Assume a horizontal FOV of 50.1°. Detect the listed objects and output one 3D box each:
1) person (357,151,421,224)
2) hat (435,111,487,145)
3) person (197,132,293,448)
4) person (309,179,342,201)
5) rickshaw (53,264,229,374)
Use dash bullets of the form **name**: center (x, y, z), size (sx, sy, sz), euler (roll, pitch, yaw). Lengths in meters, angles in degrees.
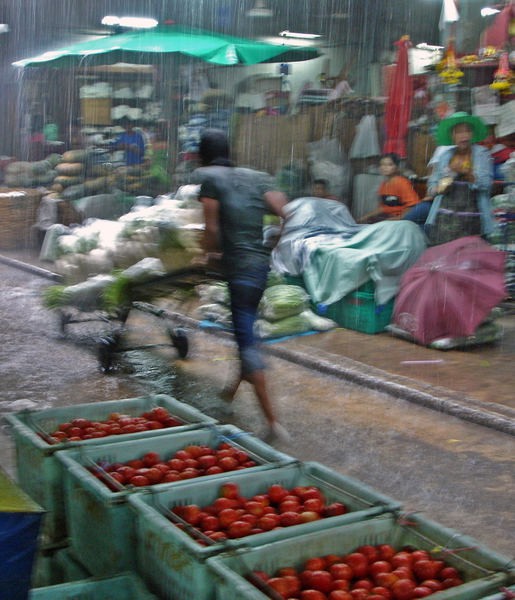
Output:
- **person**: center (2.238, -1.719, 8.802), size (1.180, 1.123, 1.134), euler (-4, 5, -22)
- **hat**: center (2.594, -2.199, 7.070), size (0.658, 0.271, 0.425), euler (4, 2, 17)
- **person**: center (-0.125, -0.113, 4.085), size (0.794, 2.261, 0.543), euler (4, 3, -7)
- **person**: center (1.216, -2.011, 9.982), size (0.460, 0.524, 1.216), euler (4, 2, 6)
- **rickshaw**: center (-0.952, 0.229, 5.247), size (1.456, 0.606, 1.471), euler (8, 7, 43)
